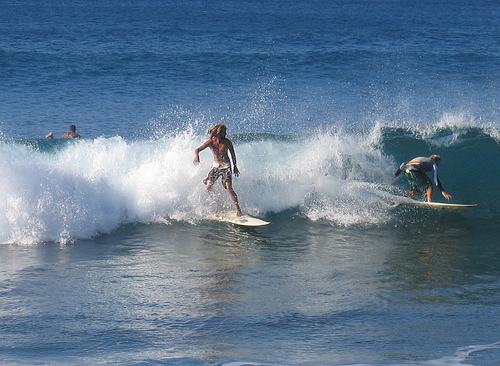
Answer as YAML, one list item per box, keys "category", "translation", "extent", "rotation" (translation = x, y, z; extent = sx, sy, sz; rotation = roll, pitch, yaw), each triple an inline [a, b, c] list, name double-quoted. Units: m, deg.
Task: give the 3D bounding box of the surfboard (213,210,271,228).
- category: "surfboard"
  translation: [-0.259, 1.106, 26.243]
  extent: [2.202, 0.223, 0.535]
  rotation: [12, 22, 39]

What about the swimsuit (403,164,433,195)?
- category: "swimsuit"
  translation: [5.035, -0.134, 27.118]
  extent: [0.706, 0.906, 0.550]
  rotation: [-32, 12, 46]

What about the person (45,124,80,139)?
- category: "person"
  translation: [-6.548, -1.767, 31.246]
  extent: [0.890, 0.335, 0.624]
  rotation: [-16, 30, -41]

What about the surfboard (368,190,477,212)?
- category: "surfboard"
  translation: [5.134, 0.629, 27.002]
  extent: [3.008, 0.295, 0.635]
  rotation: [8, 23, 17]
